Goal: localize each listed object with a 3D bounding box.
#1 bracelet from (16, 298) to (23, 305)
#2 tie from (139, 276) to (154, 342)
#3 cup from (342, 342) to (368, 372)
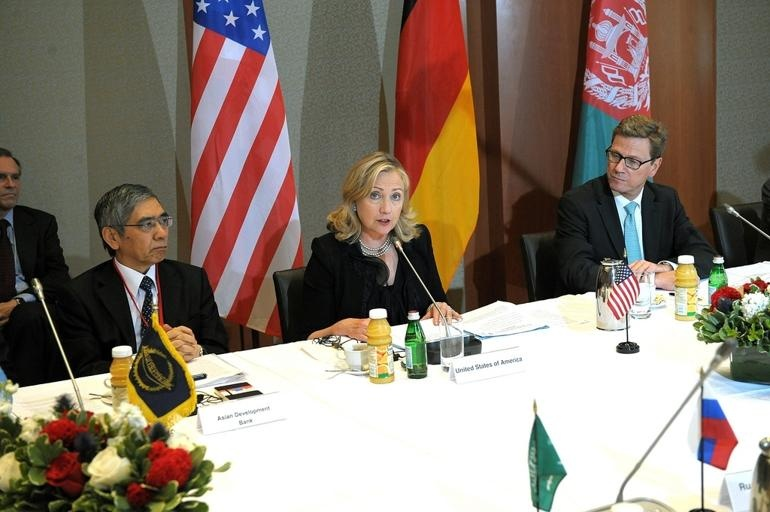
[{"bbox_3d":[-2.305,0.283,4.047,0.034,0.043,0.030,1,-11,-26],"label":"bracelet"},{"bbox_3d":[-1.097,0.243,2.939,0.060,0.328,0.045,-2,-30,-3],"label":"tie"},{"bbox_3d":[-0.124,0.415,2.650,0.091,0.078,0.108,-3,2,-26],"label":"cup"}]
